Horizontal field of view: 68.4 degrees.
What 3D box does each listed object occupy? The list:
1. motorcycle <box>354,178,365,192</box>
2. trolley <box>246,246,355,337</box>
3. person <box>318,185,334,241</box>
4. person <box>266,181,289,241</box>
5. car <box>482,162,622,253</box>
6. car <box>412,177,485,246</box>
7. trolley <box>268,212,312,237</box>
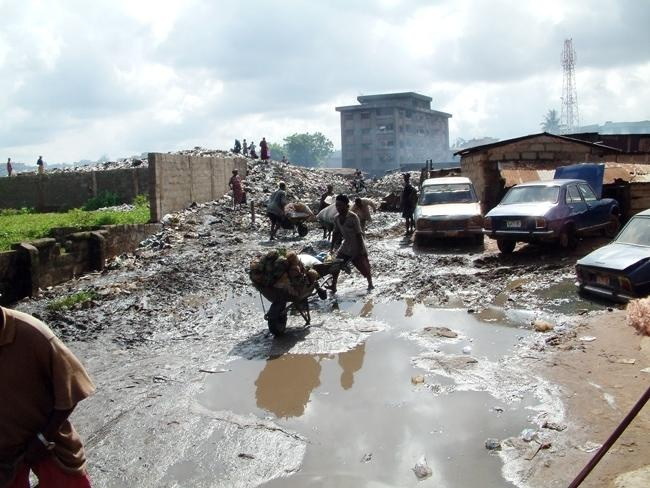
[{"bbox_3d":[2.643,-4.369,35.933,0.776,0.845,1.833,-4,11,1],"label":"motorcycle"},{"bbox_3d":[-0.522,0.762,8.237,0.923,0.887,1.900,-2,-8,15],"label":"trolley"},{"bbox_3d":[0.154,-1.218,17.330,0.597,1.786,0.579,4,11,15],"label":"person"},{"bbox_3d":[-1.664,-1.160,16.660,0.689,1.966,1.323,-6,11,-7],"label":"person"},{"bbox_3d":[6.128,-1.050,12.579,2.059,2.044,4.295,4,18,43],"label":"car"},{"bbox_3d":[3.754,-1.060,14.349,1.428,1.248,2.959,-2,4,7],"label":"car"},{"bbox_3d":[-1.252,-0.684,16.966,1.417,0.735,0.705,-1,20,-9],"label":"trolley"}]
